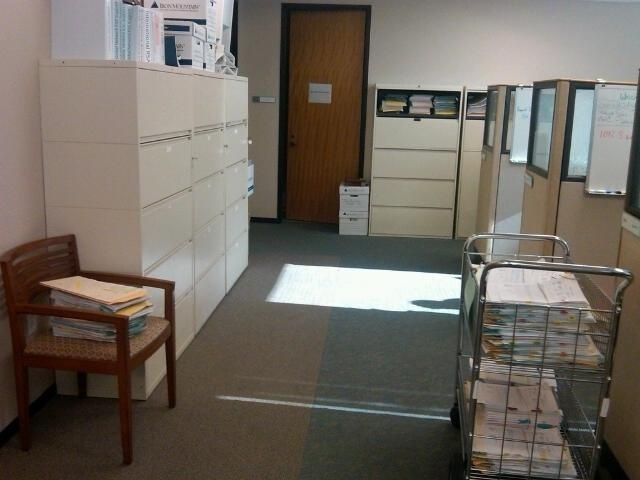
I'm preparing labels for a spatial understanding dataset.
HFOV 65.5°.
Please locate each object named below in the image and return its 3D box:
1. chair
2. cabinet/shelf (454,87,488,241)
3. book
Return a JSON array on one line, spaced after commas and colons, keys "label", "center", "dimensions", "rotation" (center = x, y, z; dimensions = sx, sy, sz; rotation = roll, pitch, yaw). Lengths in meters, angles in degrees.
[{"label": "chair", "center": [-1.245, 0.554, 2.740], "dimensions": [0.715, 1.050, 0.581], "rotation": [4, 16, 8]}, {"label": "cabinet/shelf", "center": [1.975, -0.964, 6.485], "dimensions": [0.354, 1.934, 0.365], "rotation": [11, 19, 31]}, {"label": "book", "center": [-1.199, 0.340, 2.705], "dimensions": [0.439, 0.184, 0.341], "rotation": [5, 16, 5]}]
